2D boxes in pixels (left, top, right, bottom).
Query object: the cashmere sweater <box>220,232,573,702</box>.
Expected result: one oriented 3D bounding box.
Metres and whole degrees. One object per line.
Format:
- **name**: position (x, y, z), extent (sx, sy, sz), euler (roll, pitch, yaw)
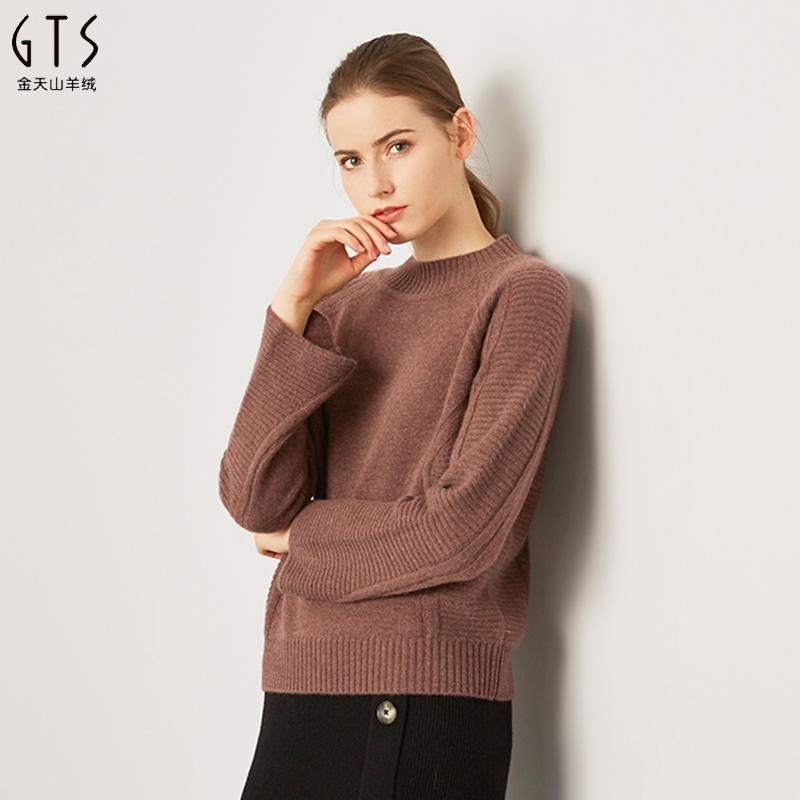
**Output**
- **cashmere sweater**: position (-0.011, 0.087, 1.257), extent (0.261, 0.568, 0.440), euler (-2, 0, -41)
